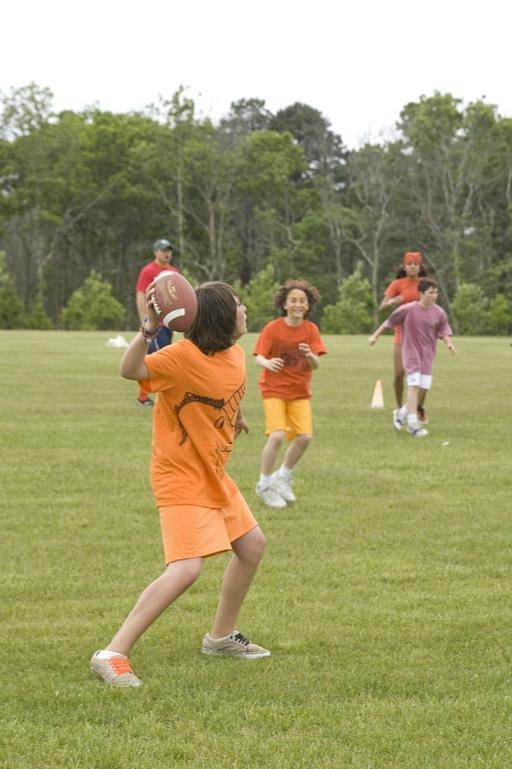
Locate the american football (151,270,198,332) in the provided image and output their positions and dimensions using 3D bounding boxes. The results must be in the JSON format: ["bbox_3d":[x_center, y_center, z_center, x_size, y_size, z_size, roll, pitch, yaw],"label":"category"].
[{"bbox_3d":[-0.286,-0.300,4.478,0.148,0.218,0.160,-17,0,15],"label":"american football"}]

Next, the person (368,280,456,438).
[{"bbox_3d":[1.474,-0.267,11.002,0.687,1.429,1.082,2,9,9],"label":"person"}]

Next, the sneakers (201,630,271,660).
[{"bbox_3d":[-0.082,1.067,4.860,0.300,0.113,0.104,3,1,-2],"label":"sneakers"}]

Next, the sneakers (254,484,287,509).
[{"bbox_3d":[0.095,0.697,7.378,0.084,0.089,0.230,-31,41,-27],"label":"sneakers"}]

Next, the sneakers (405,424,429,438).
[{"bbox_3d":[1.454,0.433,10.691,0.081,0.073,0.169,-2,1,-39],"label":"sneakers"}]

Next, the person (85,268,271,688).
[{"bbox_3d":[-0.248,0.365,4.631,0.397,1.500,0.842,9,12,41],"label":"person"}]

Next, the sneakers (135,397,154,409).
[{"bbox_3d":[-1.141,0.193,12.440,0.226,0.093,0.078,0,4,0],"label":"sneakers"}]

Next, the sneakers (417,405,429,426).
[{"bbox_3d":[1.612,0.301,11.497,0.077,0.084,0.217,-6,-41,18],"label":"sneakers"}]

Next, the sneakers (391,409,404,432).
[{"bbox_3d":[1.334,0.357,11.137,0.082,0.099,0.229,1,-14,2],"label":"sneakers"}]

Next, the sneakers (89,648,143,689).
[{"bbox_3d":[-0.542,1.046,4.512,0.239,0.100,0.090,25,26,23],"label":"sneakers"}]

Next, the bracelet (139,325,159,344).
[{"bbox_3d":[-0.408,-0.195,4.509,0.072,0.077,0.039,8,-42,-26],"label":"bracelet"}]
